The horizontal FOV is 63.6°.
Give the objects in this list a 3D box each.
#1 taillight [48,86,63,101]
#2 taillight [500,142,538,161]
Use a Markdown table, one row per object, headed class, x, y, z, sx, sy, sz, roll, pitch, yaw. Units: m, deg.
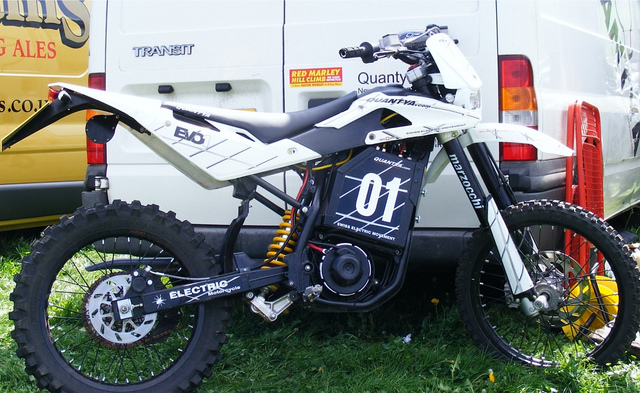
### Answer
| class | x | y | z | sx | sy | sz | roll | pitch | yaw |
| --- | --- | --- | --- | --- | --- | --- | --- | --- | --- |
| taillight | -1.902 | -0.735 | 3.660 | 0.081 | 0.098 | 0.108 | -2 | 0 | -4 |
| taillight | 1.617 | -0.353 | 4.203 | 0.217 | 0.084 | 0.156 | 2 | -1 | -24 |
